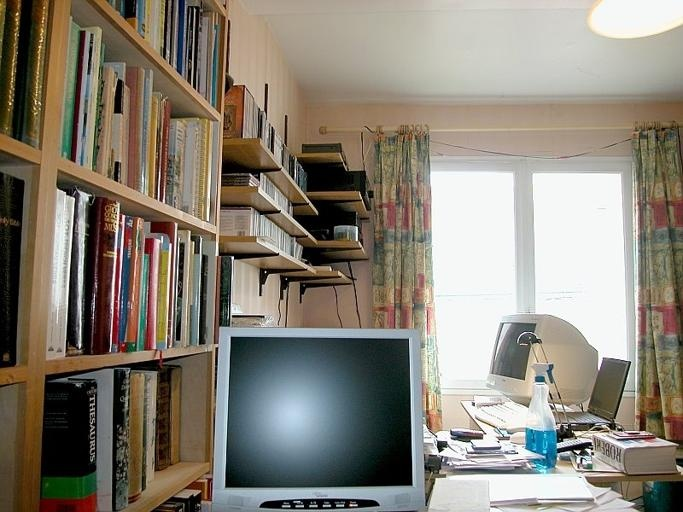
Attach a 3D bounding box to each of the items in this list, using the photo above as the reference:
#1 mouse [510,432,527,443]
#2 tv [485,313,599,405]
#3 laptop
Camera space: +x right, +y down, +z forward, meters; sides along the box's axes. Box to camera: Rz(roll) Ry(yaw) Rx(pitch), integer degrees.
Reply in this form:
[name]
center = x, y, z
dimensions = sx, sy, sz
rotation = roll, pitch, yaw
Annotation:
[mouse]
center = 0.722, 0.737, 2.548
dimensions = 0.046, 0.024, 0.047
rotation = -1, 1, 21
[tv]
center = 1.128, 0.586, 3.534
dimensions = 0.441, 0.518, 0.581
rotation = 2, -6, -6
[laptop]
center = 1.185, 0.601, 3.073
dimensions = 0.369, 0.319, 0.423
rotation = -3, -6, 5
